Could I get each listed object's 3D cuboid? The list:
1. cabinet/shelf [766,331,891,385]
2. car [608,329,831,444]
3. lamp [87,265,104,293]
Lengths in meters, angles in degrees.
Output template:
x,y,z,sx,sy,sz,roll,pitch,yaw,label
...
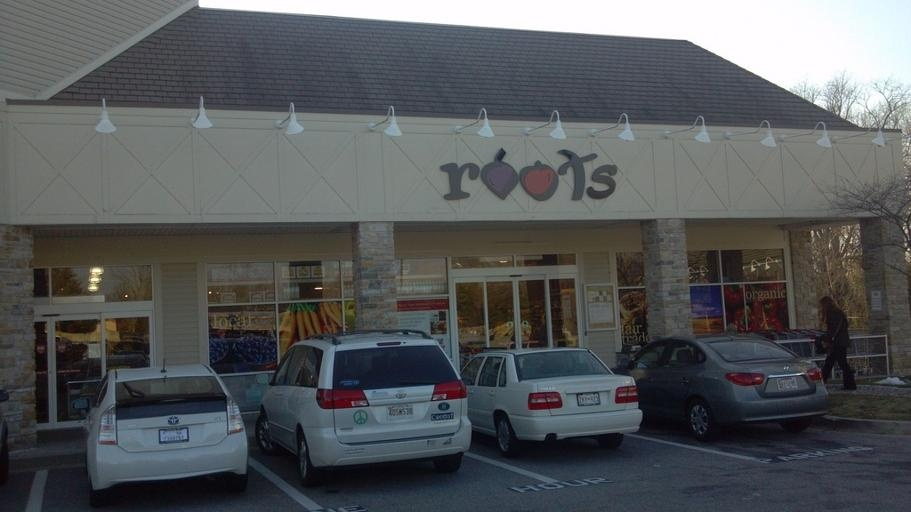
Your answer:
x,y,z,sx,sy,sz,roll,pitch,yaw,label
13.218,3.281,25.450,2.261,4.446,1.805,-1,-2,19,cabinet/shelf
6.982,3.419,19.437,4.548,2.418,1.668,2,11,23,car
-11.312,0.724,23.312,0.451,0.756,0.167,6,-4,-13,lamp
